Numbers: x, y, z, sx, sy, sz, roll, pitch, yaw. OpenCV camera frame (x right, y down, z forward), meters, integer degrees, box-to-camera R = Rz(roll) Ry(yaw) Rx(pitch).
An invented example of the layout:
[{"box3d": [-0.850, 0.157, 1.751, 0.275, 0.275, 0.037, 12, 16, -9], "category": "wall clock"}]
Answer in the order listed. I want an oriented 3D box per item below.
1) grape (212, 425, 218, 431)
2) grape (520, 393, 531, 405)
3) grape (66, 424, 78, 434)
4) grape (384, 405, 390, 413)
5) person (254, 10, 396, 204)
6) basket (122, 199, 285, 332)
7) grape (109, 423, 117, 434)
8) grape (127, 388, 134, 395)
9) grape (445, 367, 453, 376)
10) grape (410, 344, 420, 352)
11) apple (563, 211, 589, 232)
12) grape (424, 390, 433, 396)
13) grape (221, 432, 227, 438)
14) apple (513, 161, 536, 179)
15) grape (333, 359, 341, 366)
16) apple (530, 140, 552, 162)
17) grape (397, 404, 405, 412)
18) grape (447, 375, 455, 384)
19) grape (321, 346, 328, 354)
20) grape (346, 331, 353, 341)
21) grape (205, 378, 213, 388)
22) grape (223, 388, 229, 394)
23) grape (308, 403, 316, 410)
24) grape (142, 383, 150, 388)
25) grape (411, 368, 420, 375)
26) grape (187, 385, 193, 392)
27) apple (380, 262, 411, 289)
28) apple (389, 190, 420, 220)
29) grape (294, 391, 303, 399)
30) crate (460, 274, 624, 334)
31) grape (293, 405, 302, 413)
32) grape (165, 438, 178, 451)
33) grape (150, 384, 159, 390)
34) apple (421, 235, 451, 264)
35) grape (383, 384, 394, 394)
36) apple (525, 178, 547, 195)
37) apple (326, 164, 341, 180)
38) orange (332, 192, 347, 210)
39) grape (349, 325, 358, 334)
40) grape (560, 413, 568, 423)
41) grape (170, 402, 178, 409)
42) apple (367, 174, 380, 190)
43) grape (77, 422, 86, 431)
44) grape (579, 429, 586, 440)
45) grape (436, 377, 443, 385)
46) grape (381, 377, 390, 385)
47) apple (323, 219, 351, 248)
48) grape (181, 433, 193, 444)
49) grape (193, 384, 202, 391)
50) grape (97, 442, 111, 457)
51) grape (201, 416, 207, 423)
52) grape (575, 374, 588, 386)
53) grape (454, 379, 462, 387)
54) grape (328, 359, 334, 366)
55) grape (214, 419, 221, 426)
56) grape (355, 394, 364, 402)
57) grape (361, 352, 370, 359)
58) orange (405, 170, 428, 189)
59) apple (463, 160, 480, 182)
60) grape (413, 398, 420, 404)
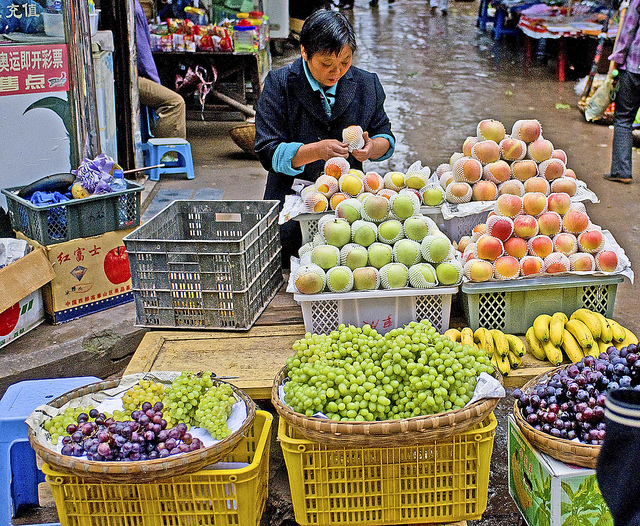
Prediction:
[{"box3d": [-0.418, 0.664, 2.935, 0.017, 0.023, 0.020, 7, 57, -15], "category": "grape"}, {"box3d": [0.874, 0.583, 3.132, 0.036, 0.033, 0.030, 6, 0, 6], "category": "grape"}, {"box3d": [-0.999, 0.672, 2.958, 0.033, 0.040, 0.034, -29, 61, 3], "category": "grape"}, {"box3d": [0.264, 0.579, 2.900, 0.020, 0.029, 0.022, -1, 10, 2], "category": "grape"}, {"box3d": [0.020, -0.830, 4.172, 0.792, 1.175, 0.727, 1, 21, 4], "category": "person"}, {"box3d": [-0.515, 0.048, 3.831, 0.578, 0.464, 0.848, 2, 25, 8], "category": "basket"}, {"box3d": [-0.818, 0.657, 2.903, 0.028, 0.038, 0.031, 5, 38, 9], "category": "grape"}, {"box3d": [-0.795, 0.545, 3.089, 0.018, 0.021, 0.024, 7, 28, 6], "category": "grape"}, {"box3d": [0.511, 0.433, 2.917, 0.025, 0.034, 0.029, -3, 42, 3], "category": "grape"}, {"box3d": [0.387, 0.343, 2.947, 0.024, 0.016, 0.027, 1, 24, 7], "category": "grape"}, {"box3d": [1.217, -0.197, 3.503, 0.083, 0.102, 0.092, -1, 12, -1], "category": "apple"}, {"box3d": [0.428, 0.514, 2.890, 0.017, 0.013, 0.021, 15, 17, -20], "category": "grape"}, {"box3d": [-0.385, 0.691, 2.940, 0.014, 0.020, 0.016, 1, 19, 7], "category": "grape"}, {"box3d": [1.042, -0.470, 3.732, 0.074, 0.071, 0.090, -6, 5, 10], "category": "apple"}, {"box3d": [0.071, 0.407, 3.014, 0.020, 0.027, 0.021, 26, 14, 19], "category": "grape"}, {"box3d": [1.123, -0.572, 3.740, 0.088, 0.105, 0.096, -6, 7, -6], "category": "apple"}, {"box3d": [0.320, 0.577, 2.900, 0.023, 0.033, 0.026, -9, 5, 2], "category": "grape"}, {"box3d": [0.518, 0.464, 2.909, 0.022, 0.019, 0.031, -1, -2, 1], "category": "grape"}, {"box3d": [0.021, 0.362, 3.047, 0.021, 0.028, 0.024, -4, -27, -8], "category": "grape"}, {"box3d": [0.123, 0.309, 3.073, 0.020, 0.032, 0.024, -3, -26, 5], "category": "grape"}, {"box3d": [-0.469, 0.511, 3.100, 0.026, 0.038, 0.029, -1, 5, 2], "category": "grape"}, {"box3d": [-0.397, 0.542, 3.093, 0.020, 0.015, 0.022, 4, 4, 21], "category": "grape"}, {"box3d": [-0.029, 0.575, 2.917, 0.017, 0.014, 0.022, -7, 0, -7], "category": "grape"}, {"box3d": [-0.734, 0.521, 3.104, 0.018, 0.020, 0.020, 5, 46, -17], "category": "grape"}, {"box3d": [0.377, 0.433, 2.907, 0.017, 0.020, 0.024, 25, 14, 12], "category": "grape"}, {"box3d": [-0.541, 0.527, 3.058, 0.017, 0.024, 0.019, 0, 0, 4], "category": "grape"}, {"box3d": [0.343, 0.057, 3.340, 0.094, 0.131, 0.123, 5, 8, -1], "category": "apple"}, {"box3d": [0.405, -0.278, 3.529, 0.145, 0.122, 0.120, 3, 22, 7], "category": "apple"}, {"box3d": [-0.089, 0.533, 2.943, 0.021, 0.025, 0.022, -2, 1, -3], "category": "grape"}, {"box3d": [1.156, 0.202, 3.694, 0.758, 0.286, 0.596, -7, -3, 26], "category": "crate"}, {"box3d": [-0.090, 0.585, 2.929, 0.009, 0.027, 0.025, -26, 29, -13], "category": "grape"}, {"box3d": [-0.584, 0.716, 2.877, 0.034, 0.044, 0.031, -1, -21, -10], "category": "grape"}, {"box3d": [-0.696, 0.526, 3.094, 0.018, 0.014, 0.024, 2, 10, -13], "category": "grape"}, {"box3d": [0.534, -0.060, 3.390, 0.133, 0.123, 0.096, 8, 23, 19], "category": "apple"}, {"box3d": [0.270, 0.501, 2.915, 0.027, 0.041, 0.028, -18, -9, 20], "category": "grape"}, {"box3d": [1.082, -0.382, 3.670, 0.069, 0.086, 0.078, -1, -1, -1], "category": "apple"}, {"box3d": [0.073, -0.486, 3.889, 0.053, 0.074, 0.062, -17, 50, -23], "category": "apple"}, {"box3d": [0.099, -0.320, 3.714, 0.060, 0.081, 0.061, -6, 40, -11], "category": "orange"}, {"box3d": [0.144, 0.286, 3.122, 0.019, 0.029, 0.021, -17, -19, 10], "category": "grape"}, {"box3d": [0.996, 0.638, 2.999, 0.024, 0.017, 0.026, -3, 8, -10], "category": "grape"}, {"box3d": [-0.599, 0.590, 3.020, 0.018, 0.022, 0.025, 0, -2, -18], "category": "grape"}, {"box3d": [0.279, -0.424, 3.852, 0.057, 0.065, 0.067, 7, 23, 18], "category": "apple"}, {"box3d": [-0.960, 0.662, 2.955, 0.017, 0.034, 0.025, 13, -21, -41], "category": "grape"}, {"box3d": [1.058, 0.696, 2.961, 0.029, 0.020, 0.032, -3, 36, 14], "category": "grape"}, {"box3d": [0.472, 0.465, 2.892, 0.023, 0.027, 0.023, -40, 22, 20], "category": "grape"}, {"box3d": [0.262, 0.471, 2.922, 0.025, 0.035, 0.026, 3, 11, 34], "category": "grape"}, {"box3d": [0.083, -0.139, 3.450, 0.108, 0.135, 0.117, 1, 14, 2], "category": "apple"}, {"box3d": [-0.528, 0.701, 2.921, 0.034, 0.020, 0.035, -24, 49, -33], "category": "grape"}, {"box3d": [-0.510, 0.522, 3.060, 0.024, 0.027, 0.028, 17, -24, -34], "category": "grape"}, {"box3d": [-0.831, 0.722, 2.829, 0.039, 0.044, 0.052, -17, -23, 10], "category": "grape"}, {"box3d": [-0.469, 0.638, 2.981, 0.019, 0.027, 0.021, -3, 10, 0], "category": "grape"}, {"box3d": [1.087, 0.492, 3.060, 0.030, 0.036, 0.044, 0, -2, 5], "category": "grape"}, {"box3d": [0.548, 0.479, 2.915, 0.019, 0.023, 0.027, 6, 8, -2], "category": "grape"}, {"box3d": [0.045, 0.411, 2.999, 0.015, 0.022, 0.017, -1, -4, 3], "category": "grape"}, {"box3d": [-0.411, 0.641, 2.944, 0.019, 0.018, 0.017, 0, 28, -3], "category": "grape"}, {"box3d": [0.158, 0.535, 2.896, 0.021, 0.029, 0.023, 2, 29, -3], "category": "grape"}, {"box3d": [0.185, 0.379, 2.992, 0.025, 0.023, 0.020, 14, 18, 27], "category": "grape"}, {"box3d": [0.494, -0.430, 3.831, 0.079, 0.065, 0.091, 1, 2, -6], "category": "orange"}, {"box3d": [0.772, -0.470, 3.746, 0.072, 0.095, 0.066, 8, -14, -10], "category": "apple"}, {"box3d": [0.378, 0.544, 2.883, 0.018, 0.025, 0.021, 4, 42, -6], "category": "grape"}]
